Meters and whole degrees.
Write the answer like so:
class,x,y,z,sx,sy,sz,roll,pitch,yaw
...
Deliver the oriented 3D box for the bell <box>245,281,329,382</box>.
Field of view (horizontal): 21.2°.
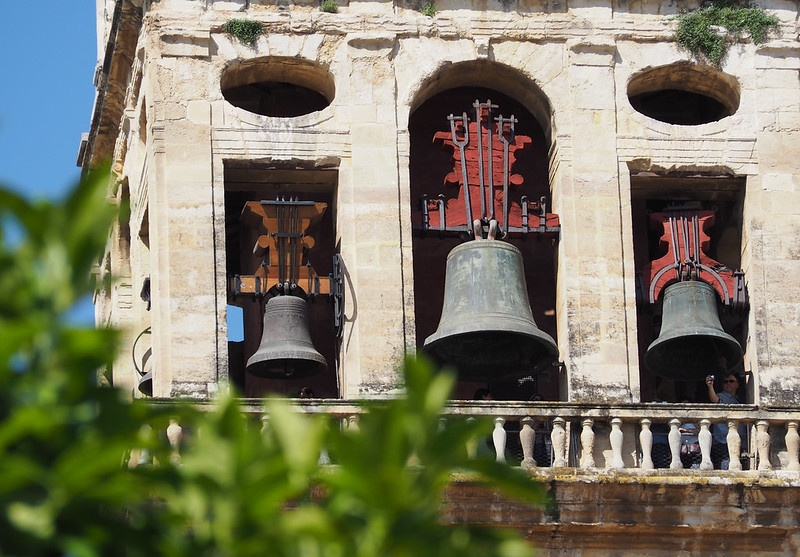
class,x,y,z,sx,sy,sz,roll,pitch,yaw
bell,-1.547,0.818,28.342,1.303,1.230,1.182,1,-33,-2
